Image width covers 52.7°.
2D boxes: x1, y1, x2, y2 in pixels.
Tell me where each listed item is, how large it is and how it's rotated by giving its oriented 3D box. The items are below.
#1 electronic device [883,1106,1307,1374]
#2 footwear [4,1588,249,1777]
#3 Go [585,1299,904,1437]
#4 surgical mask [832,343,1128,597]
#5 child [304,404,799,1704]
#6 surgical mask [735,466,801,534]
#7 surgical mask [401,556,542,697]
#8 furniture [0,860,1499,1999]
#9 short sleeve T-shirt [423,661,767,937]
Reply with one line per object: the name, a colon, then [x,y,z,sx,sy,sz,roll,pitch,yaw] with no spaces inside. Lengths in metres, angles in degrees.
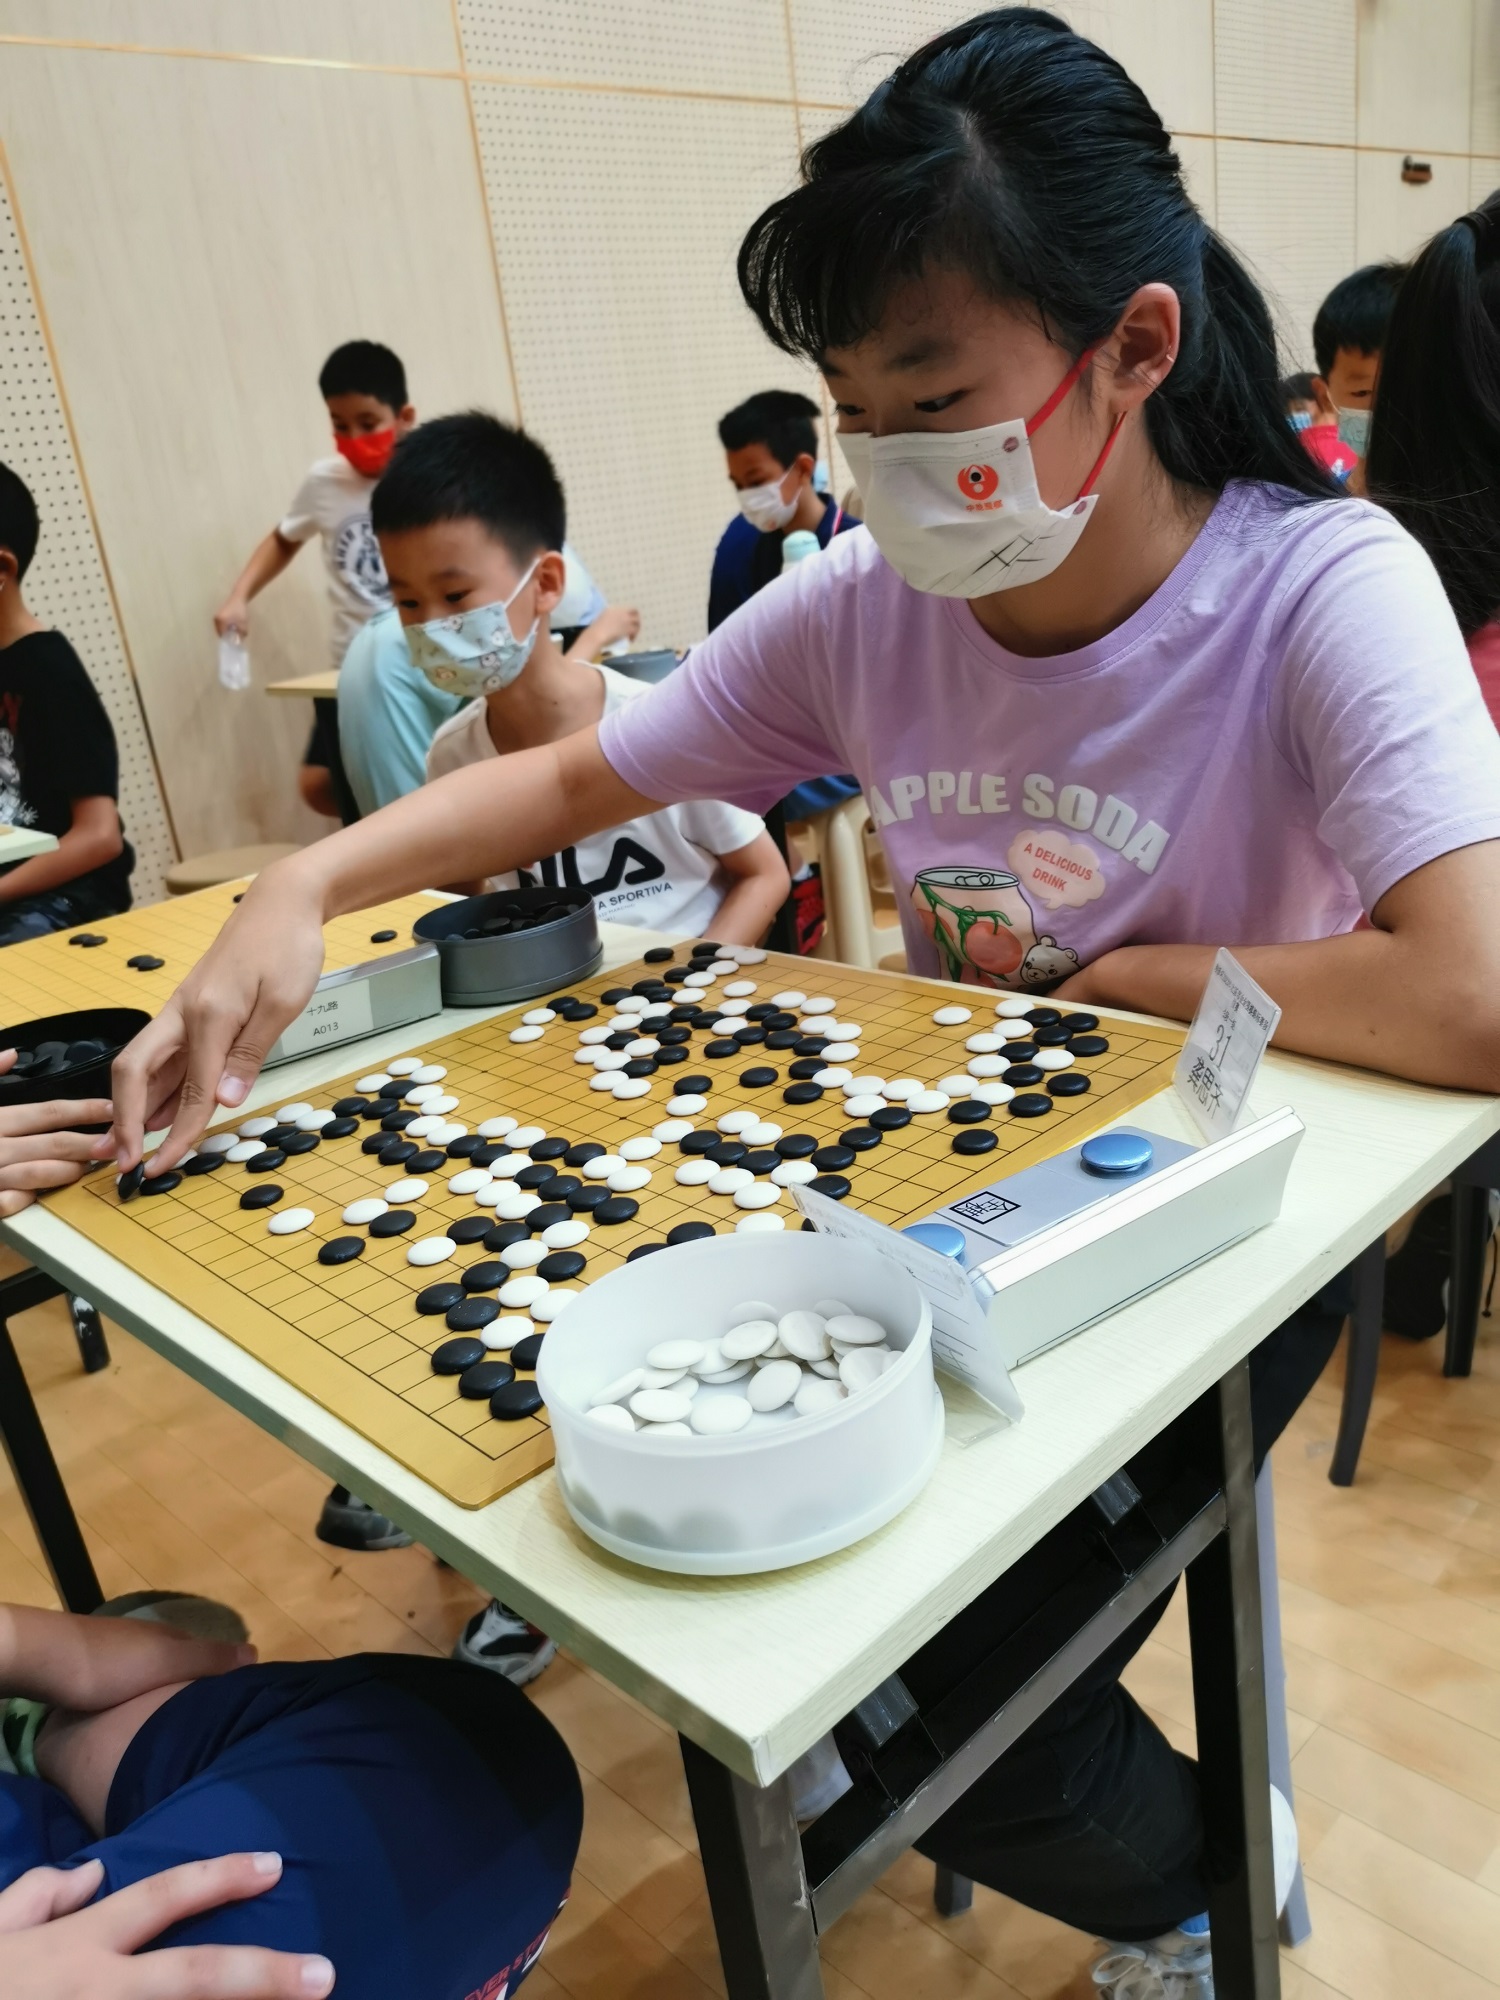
electronic device: [0.168,0.108,0.784,0.214,0.077,0.121,-19,30,-27]
footwear: [-0.463,0.481,1.105,0.127,0.054,0.092,-21,17,-36]
Go: [-0.003,0.163,0.649,0.133,0.018,0.080,-12,16,-9]
surgical mask: [0.174,-0.380,1.101,0.151,0.090,0.134,-48,38,-6]
child: [-0.485,-0.197,2.572,0.738,1.621,0.607,11,36,-14]
surgical mask: [0.058,-1.359,4.115,0.125,0.088,0.119,-39,20,-7]
surgical mask: [-0.405,-0.530,2.184,0.197,0.128,0.235,0,43,24]
furniture: [0.020,0.277,0.976,0.880,0.407,0.488,15,29,38]
short sleeve T-shirt: [-0.164,-0.217,1.740,0.347,0.308,0.189,-27,8,13]
